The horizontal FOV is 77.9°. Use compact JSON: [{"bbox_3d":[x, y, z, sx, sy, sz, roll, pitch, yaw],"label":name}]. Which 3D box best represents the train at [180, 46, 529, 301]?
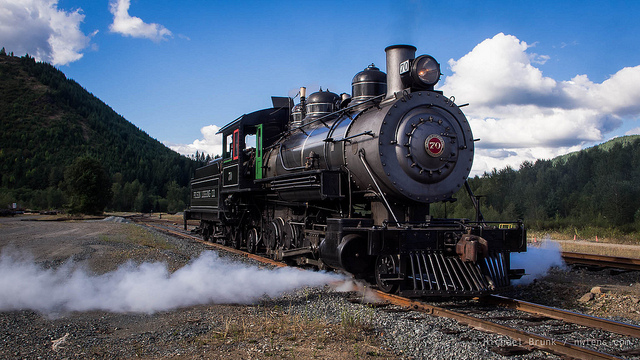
[{"bbox_3d":[-0.544,0.284,18.419,6.127,6.315,18.415,2,-2,-26],"label":"train"}]
